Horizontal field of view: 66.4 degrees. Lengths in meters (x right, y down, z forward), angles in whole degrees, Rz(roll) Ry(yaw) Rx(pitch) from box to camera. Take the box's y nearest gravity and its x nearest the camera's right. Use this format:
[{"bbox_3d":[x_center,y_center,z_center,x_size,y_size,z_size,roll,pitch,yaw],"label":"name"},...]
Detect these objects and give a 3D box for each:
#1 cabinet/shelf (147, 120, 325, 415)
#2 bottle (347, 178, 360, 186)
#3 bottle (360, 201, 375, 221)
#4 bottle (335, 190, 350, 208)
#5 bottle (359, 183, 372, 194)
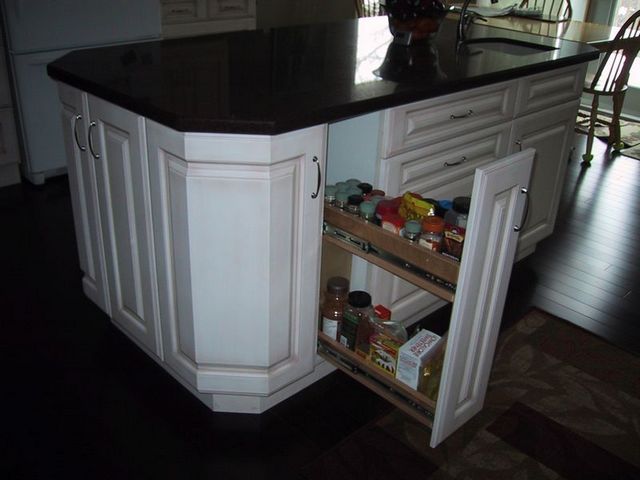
[{"bbox_3d":[-0.289,0.085,1.652,0.642,0.914,0.282,-1,29,2],"label":"cabinet/shelf"},{"bbox_3d":[0.134,-0.220,1.855,0.033,0.016,0.034,1,36,-1],"label":"bottle"},{"bbox_3d":[0.168,-0.101,1.704,0.049,0.030,0.064,9,33,10],"label":"bottle"},{"bbox_3d":[0.080,-0.142,1.738,0.046,0.041,0.046,7,37,6],"label":"bottle"},{"bbox_3d":[0.173,-0.191,1.832,0.039,0.034,0.039,0,38,-1],"label":"bottle"}]
